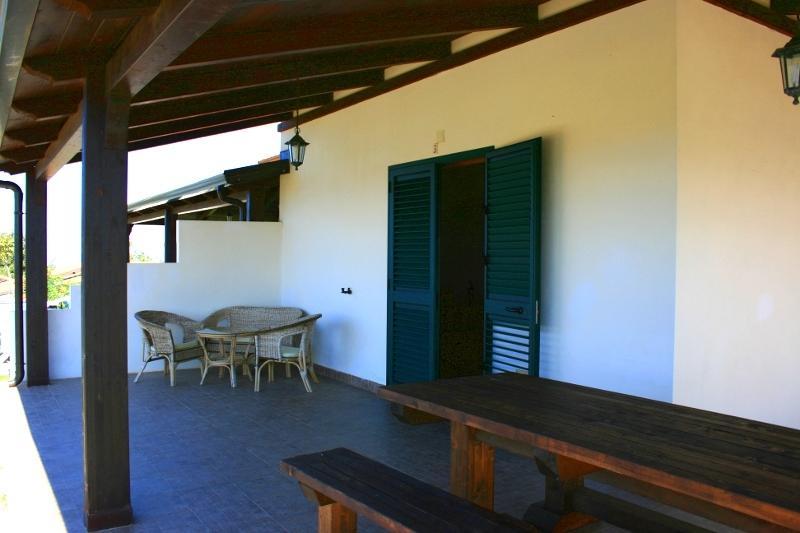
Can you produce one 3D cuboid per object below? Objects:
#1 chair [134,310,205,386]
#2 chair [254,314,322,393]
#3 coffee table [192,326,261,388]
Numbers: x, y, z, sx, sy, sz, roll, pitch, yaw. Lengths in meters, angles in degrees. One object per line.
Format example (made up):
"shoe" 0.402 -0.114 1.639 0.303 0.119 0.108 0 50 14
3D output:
"chair" -3.318 1.133 8.506 0.894 0.955 0.898 -1 1 -2
"chair" -1.613 1.183 8.378 1.023 1.150 1.090 2 -6 -10
"coffee table" -2.499 1.272 8.361 0.869 0.673 0.890 1 -3 -8
